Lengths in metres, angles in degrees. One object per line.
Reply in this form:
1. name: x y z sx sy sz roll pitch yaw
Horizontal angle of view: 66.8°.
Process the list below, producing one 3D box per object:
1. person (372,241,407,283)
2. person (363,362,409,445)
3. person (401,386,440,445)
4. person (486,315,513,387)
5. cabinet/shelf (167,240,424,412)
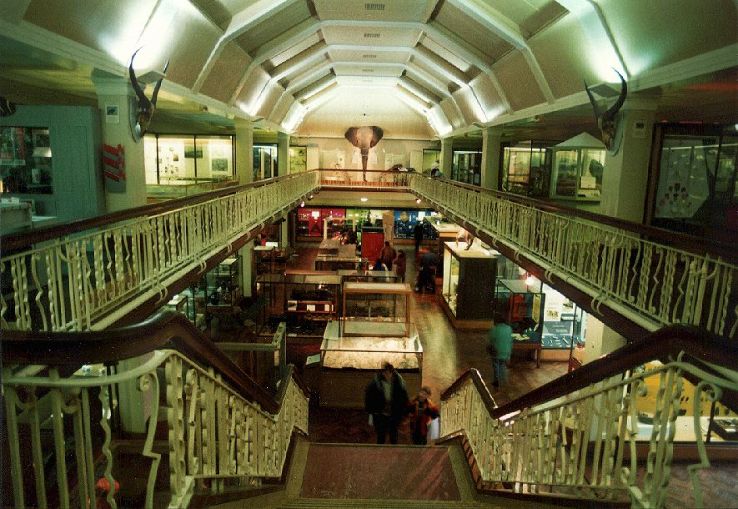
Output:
1. person: 0.642 0.242 17.342 1.140 1.684 1.091 0 1 -1
2. person: 0.272 2.414 8.508 0.603 1.492 0.399 0 1 2
3. person: 0.806 2.472 8.510 0.395 0.940 0.389 -6 12 -44
4. person: 2.787 2.068 12.022 0.482 1.452 1.169 4 9 12
5. cabinet/shelf: -0.245 1.577 12.646 2.990 2.331 3.072 0 18 1
